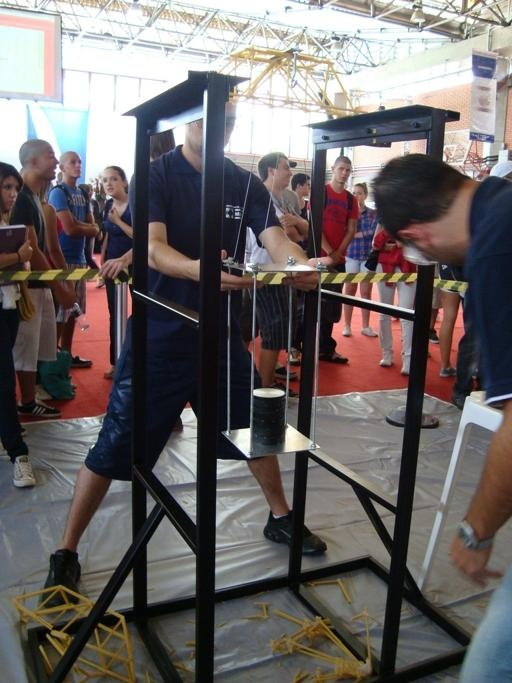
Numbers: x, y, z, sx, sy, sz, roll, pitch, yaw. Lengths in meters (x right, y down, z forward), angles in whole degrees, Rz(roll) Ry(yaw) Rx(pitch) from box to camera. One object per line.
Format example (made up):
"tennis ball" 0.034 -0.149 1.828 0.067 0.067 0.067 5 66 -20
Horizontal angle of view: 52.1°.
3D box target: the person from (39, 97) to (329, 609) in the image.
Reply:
"person" -0.187 0.099 1.631 0.953 1.541 0.690 -6 16 -31

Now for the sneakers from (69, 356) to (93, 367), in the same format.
"sneakers" -1.511 0.181 4.524 0.193 0.075 0.071 1 14 -13

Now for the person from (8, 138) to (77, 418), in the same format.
"person" -1.296 -0.368 3.228 0.489 1.694 0.466 2 6 -9

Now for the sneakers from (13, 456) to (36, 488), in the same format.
"sneakers" -1.072 0.611 2.414 0.070 0.077 0.186 0 4 -23

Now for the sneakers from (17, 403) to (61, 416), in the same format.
"sneakers" -1.384 0.439 3.357 0.251 0.105 0.092 1 10 -19

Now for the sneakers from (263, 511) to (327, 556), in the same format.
"sneakers" 0.145 0.728 2.070 0.265 0.126 0.107 9 9 40

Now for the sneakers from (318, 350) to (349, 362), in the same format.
"sneakers" 0.723 0.163 4.958 0.275 0.115 0.101 5 18 18

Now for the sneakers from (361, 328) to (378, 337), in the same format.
"sneakers" 1.300 -0.102 6.026 0.091 0.078 0.185 -7 10 -27

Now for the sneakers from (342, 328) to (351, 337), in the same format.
"sneakers" 1.027 -0.101 5.969 0.087 0.099 0.233 -1 4 6

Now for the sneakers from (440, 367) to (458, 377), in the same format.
"sneakers" 1.637 0.267 4.485 0.063 0.067 0.146 1 -7 -25

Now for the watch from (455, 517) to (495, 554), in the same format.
"watch" 0.315 0.283 0.756 0.038 0.026 0.050 46 -2 25
